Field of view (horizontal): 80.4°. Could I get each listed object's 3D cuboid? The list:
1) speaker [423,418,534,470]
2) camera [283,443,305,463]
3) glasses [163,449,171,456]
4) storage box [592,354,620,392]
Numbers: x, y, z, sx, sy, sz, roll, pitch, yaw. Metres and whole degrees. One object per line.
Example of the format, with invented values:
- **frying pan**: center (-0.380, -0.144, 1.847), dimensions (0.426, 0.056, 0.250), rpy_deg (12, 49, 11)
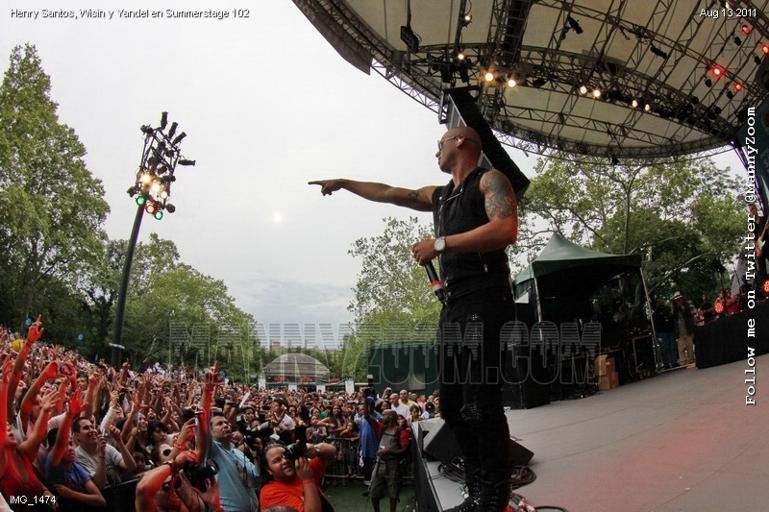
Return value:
- **speaker**: center (0.994, 2.000, 5.059), dimensions (0.854, 0.577, 0.876), rpy_deg (-3, -17, -12)
- **camera**: center (-0.847, 1.841, 4.274), dimensions (0.171, 0.164, 0.158), rpy_deg (24, 27, 3)
- **glasses**: center (-2.580, 2.335, 5.424), dimensions (0.068, 0.075, 0.171), rpy_deg (7, -18, -36)
- **storage box**: center (3.509, 1.880, 7.318), dimensions (0.390, 0.710, 0.530), rpy_deg (-9, -19, 25)
